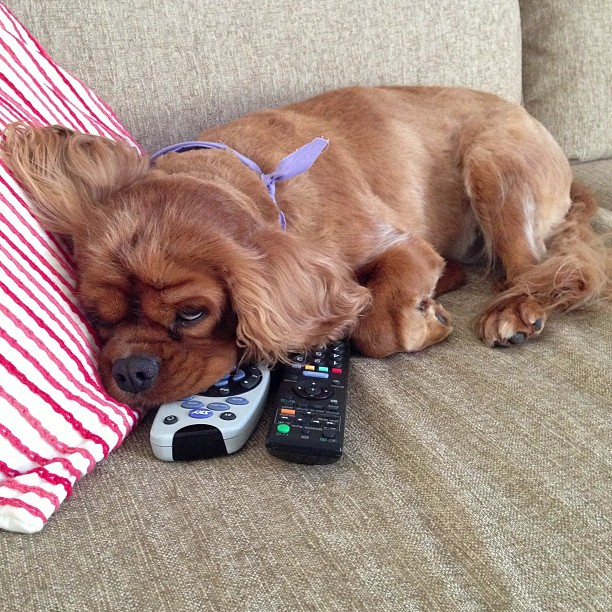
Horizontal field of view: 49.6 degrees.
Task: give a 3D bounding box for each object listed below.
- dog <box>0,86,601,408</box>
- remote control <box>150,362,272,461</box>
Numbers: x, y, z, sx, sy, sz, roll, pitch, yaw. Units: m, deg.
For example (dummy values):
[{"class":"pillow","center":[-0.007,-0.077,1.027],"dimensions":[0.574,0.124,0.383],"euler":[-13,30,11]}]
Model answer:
[{"class":"dog","center":[0.157,-0.134,1.678],"dimensions":[1.324,0.378,1.013],"euler":[-17,17,-41]},{"class":"remote control","center":[-0.170,0.190,1.331],"dimensions":[0.194,0.053,0.312],"euler":[-4,20,9]}]
